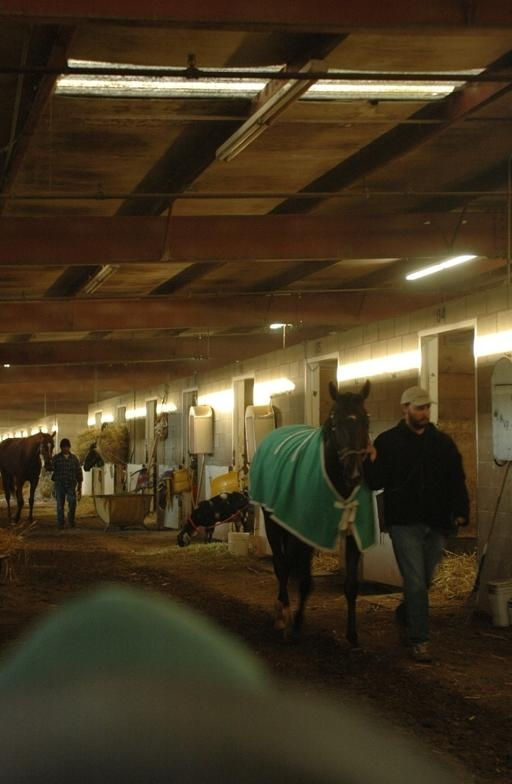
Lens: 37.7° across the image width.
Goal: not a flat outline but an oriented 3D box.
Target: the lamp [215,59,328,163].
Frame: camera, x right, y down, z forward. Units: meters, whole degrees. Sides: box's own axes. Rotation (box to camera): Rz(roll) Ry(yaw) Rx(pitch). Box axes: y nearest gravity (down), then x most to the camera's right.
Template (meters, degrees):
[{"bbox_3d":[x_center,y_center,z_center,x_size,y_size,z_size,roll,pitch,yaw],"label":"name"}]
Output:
[{"bbox_3d":[0.027,-1.600,4.445,0.197,0.184,1.469,-8,-6,-14],"label":"lamp"}]

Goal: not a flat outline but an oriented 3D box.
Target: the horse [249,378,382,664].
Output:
[{"bbox_3d":[0.401,0.835,5.197,0.673,1.563,2.182,1,-7,-12],"label":"horse"}]

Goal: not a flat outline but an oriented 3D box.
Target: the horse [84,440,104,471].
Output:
[{"bbox_3d":[-4.268,1.660,19.560,0.461,0.745,1.468,-2,-3,-16],"label":"horse"}]

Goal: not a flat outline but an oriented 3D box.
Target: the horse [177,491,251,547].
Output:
[{"bbox_3d":[-0.546,1.669,9.986,0.994,0.715,0.968,-3,-3,-1],"label":"horse"}]

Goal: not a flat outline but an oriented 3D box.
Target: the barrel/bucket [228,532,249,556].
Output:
[{"bbox_3d":[-0.220,1.880,9.287,0.261,0.268,0.259,1,-7,0],"label":"barrel/bucket"}]
